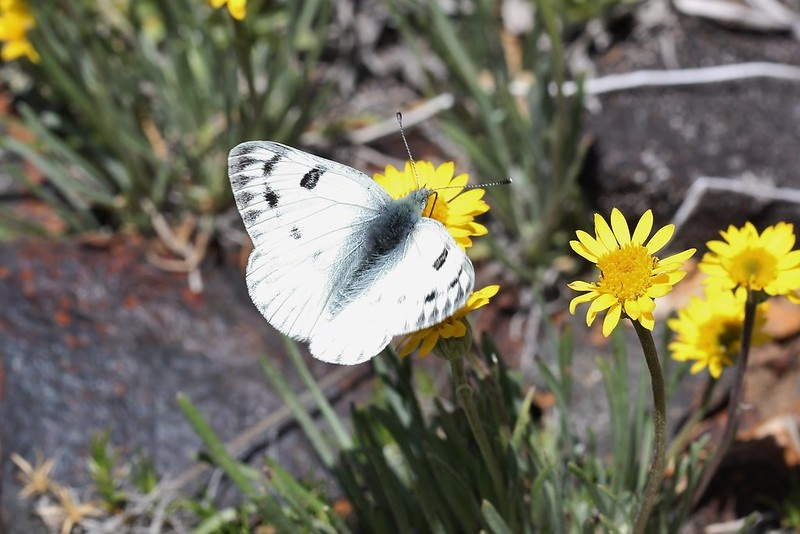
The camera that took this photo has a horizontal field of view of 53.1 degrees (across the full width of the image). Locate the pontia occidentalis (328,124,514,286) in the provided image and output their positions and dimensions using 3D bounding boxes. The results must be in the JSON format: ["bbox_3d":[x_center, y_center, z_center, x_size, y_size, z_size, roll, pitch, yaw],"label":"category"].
[{"bbox_3d":[0.165,-0.248,2.901,0.384,0.179,0.387,42,97,21],"label":"pontia occidentalis"}]

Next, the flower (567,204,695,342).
[{"bbox_3d":[0.738,0.019,2.627,0.366,0.174,0.459,16,70,27],"label":"flower"}]

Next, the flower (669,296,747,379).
[{"bbox_3d":[1.149,0.248,2.981,0.267,0.100,0.294,22,95,44],"label":"flower"}]
